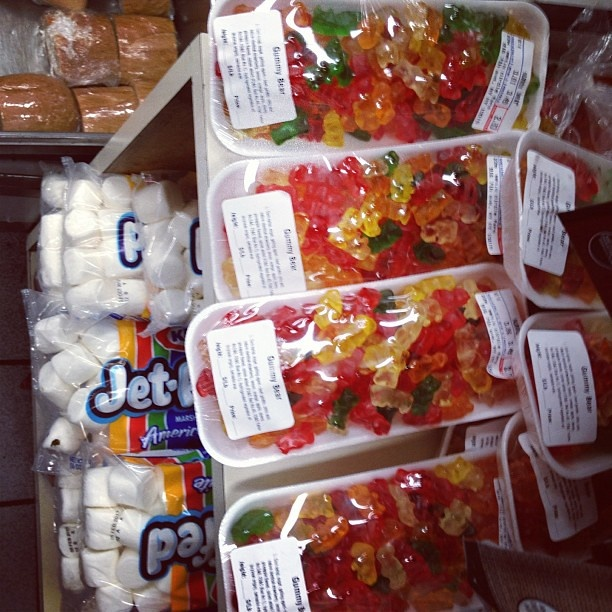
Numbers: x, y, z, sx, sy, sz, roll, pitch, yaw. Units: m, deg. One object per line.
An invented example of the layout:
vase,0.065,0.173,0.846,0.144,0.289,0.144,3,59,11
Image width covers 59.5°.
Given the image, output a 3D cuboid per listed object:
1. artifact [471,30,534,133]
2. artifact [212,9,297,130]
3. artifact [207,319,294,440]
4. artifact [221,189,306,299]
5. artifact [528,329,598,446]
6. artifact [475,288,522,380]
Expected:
artifact,0.286,-0.320,0.768,0.103,0.122,0.023,11,11,-28
artifact,-0.064,-0.302,0.686,0.082,0.120,0.070,-8,47,-4
artifact,-0.071,0.080,0.644,0.110,0.134,0.035,-10,5,-3
artifact,-0.051,-0.080,0.692,0.111,0.135,0.031,-9,11,-2
artifact,0.306,0.097,0.650,0.110,0.126,0.034,1,-6,-18
artifact,0.256,0.033,0.710,0.089,0.027,0.103,-3,82,-23
